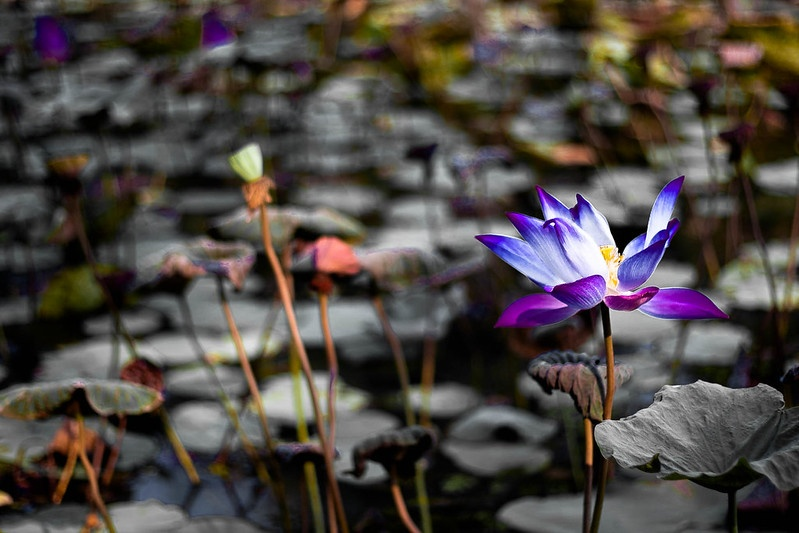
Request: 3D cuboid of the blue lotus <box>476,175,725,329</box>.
[{"bbox_3d":[0.315,-0.003,1.710,0.302,0.132,0.278,-4,30,23],"label":"blue lotus"}]
